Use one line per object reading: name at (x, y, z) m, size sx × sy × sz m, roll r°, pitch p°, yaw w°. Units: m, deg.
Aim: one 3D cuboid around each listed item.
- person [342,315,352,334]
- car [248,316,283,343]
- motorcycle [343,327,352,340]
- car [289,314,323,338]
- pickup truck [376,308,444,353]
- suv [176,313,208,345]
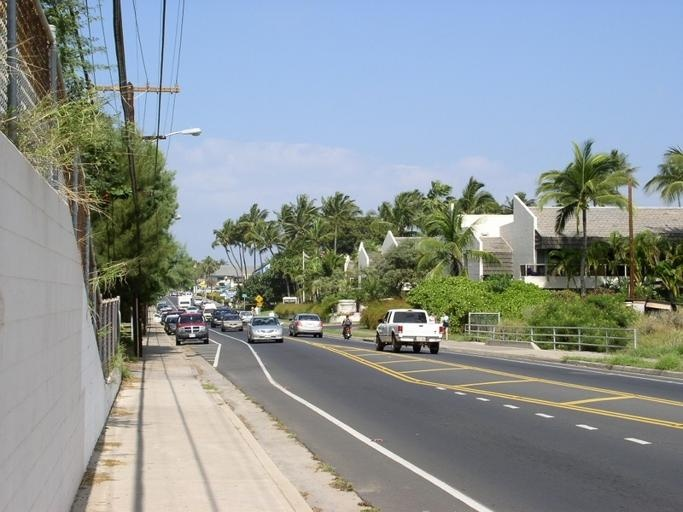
person at (0.365, 4.553, 45.692) m, size 0.760 × 1.031 × 1.532 m, roll 2°, pitch -11°, yaw 0°
car at (-4.556, 4.472, 41.669) m, size 1.767 × 1.525 × 2.990 m, roll 1°, pitch -2°, yaw -13°
motorcycle at (0.399, 5.200, 45.758) m, size 0.387 × 0.557 × 0.835 m, roll 2°, pitch -14°, yaw -2°
car at (-2.440, 4.942, 48.873) m, size 1.689 × 1.673 × 3.117 m, roll 2°, pitch -2°, yaw -24°
pickup truck at (2.976, 3.472, 31.964) m, size 1.922 × 1.986 × 3.088 m, roll 2°, pitch -2°, yaw -29°
suv at (-9.141, 4.533, 42.739) m, size 1.832 × 1.923 × 2.979 m, roll 1°, pitch -2°, yaw -15°
